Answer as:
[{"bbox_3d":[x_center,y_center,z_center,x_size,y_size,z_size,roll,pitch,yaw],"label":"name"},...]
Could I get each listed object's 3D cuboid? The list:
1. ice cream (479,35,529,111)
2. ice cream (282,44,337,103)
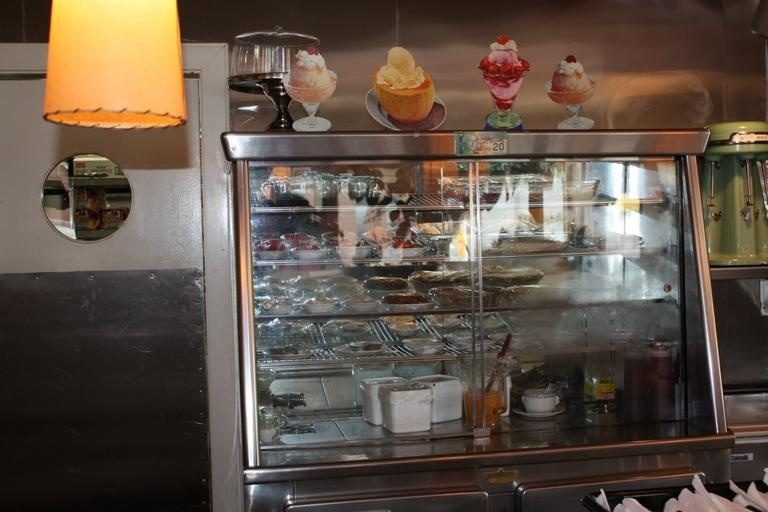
[{"bbox_3d":[0.622,-0.921,3.323,0.328,0.370,0.275,-5,29,-1],"label":"ice cream"},{"bbox_3d":[-0.346,-0.867,3.085,0.301,0.226,0.265,-1,11,-5],"label":"ice cream"}]
